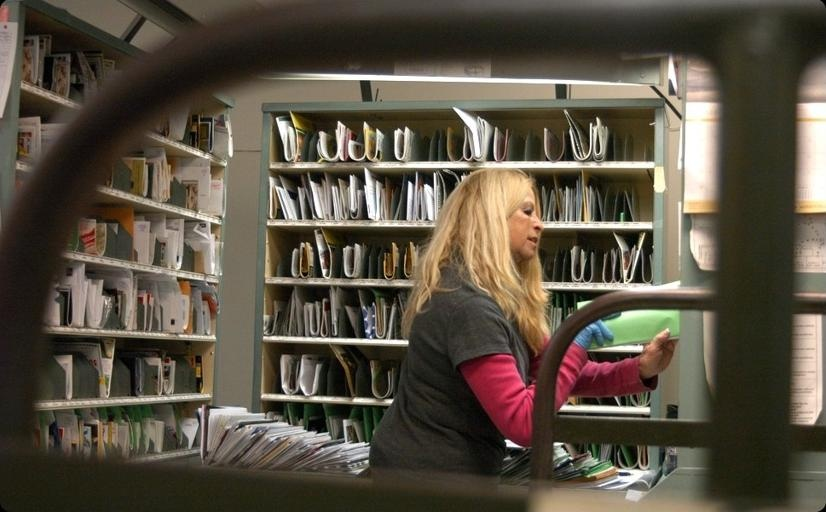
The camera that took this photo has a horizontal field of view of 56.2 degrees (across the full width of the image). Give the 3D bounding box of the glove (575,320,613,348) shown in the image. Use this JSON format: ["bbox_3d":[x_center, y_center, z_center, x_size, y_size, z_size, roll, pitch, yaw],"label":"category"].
[{"bbox_3d":[0.300,0.133,1.331,0.068,0.050,0.066,2,-12,-15],"label":"glove"}]
